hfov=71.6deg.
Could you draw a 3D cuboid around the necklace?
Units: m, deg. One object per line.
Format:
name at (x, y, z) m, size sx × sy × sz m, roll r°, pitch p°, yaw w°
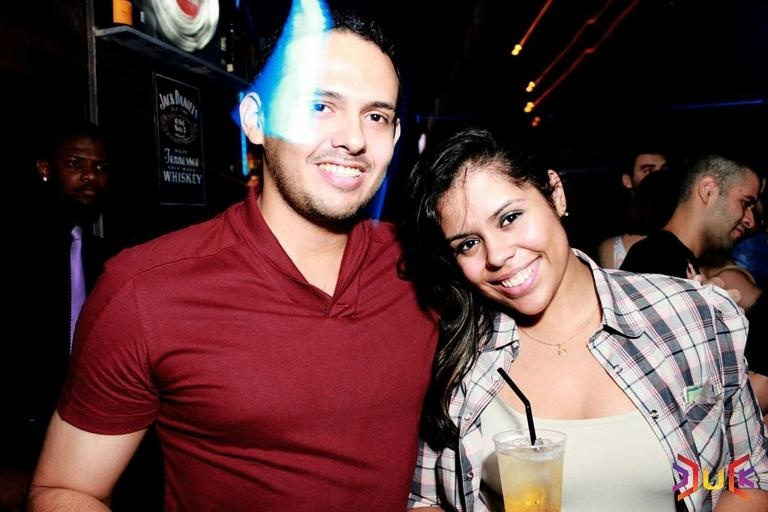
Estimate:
necklace at (1.039, 0.420, 2.983) m, size 0.388 × 0.129 × 0.272 m, roll -22°, pitch 16°, yaw 27°
